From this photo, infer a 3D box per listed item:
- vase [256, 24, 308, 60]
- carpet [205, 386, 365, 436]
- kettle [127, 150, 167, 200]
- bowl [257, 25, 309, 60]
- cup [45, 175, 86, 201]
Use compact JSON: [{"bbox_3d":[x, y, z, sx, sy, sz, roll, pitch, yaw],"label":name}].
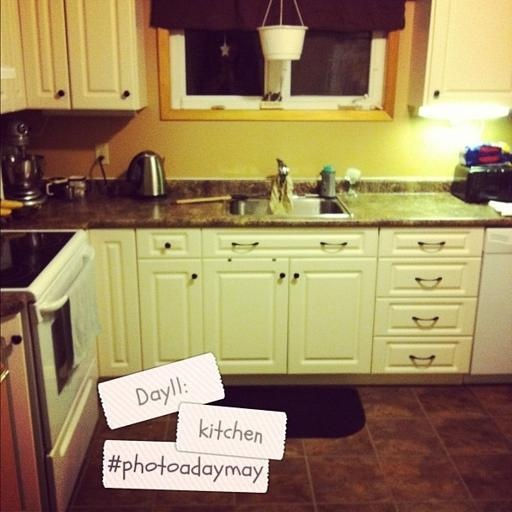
[{"bbox_3d":[0.135,-1.061,2.523,0.189,0.122,0.197,0,11,-1],"label":"vase"},{"bbox_3d":[0.203,0.801,2.583,0.750,0.054,0.455,-1,18,-2],"label":"carpet"},{"bbox_3d":[-0.598,-0.470,2.783,0.271,0.291,0.182,-10,30,-16],"label":"kettle"},{"bbox_3d":[0.134,-1.099,2.555,0.309,0.164,0.310,-1,21,0],"label":"bowl"},{"bbox_3d":[-1.104,-0.391,2.869,0.234,0.114,0.169,-7,19,-19],"label":"cup"}]
